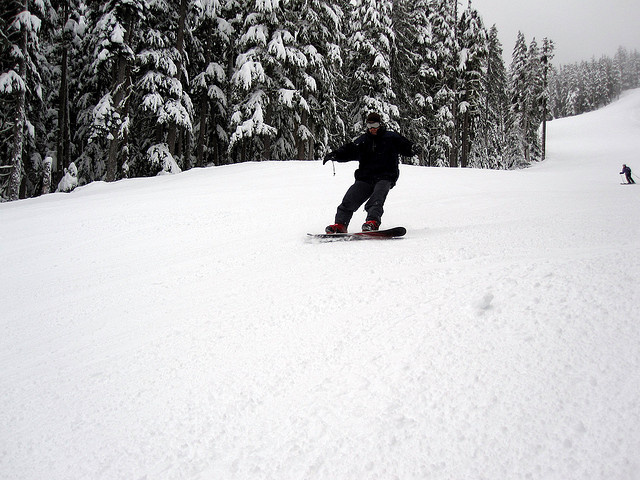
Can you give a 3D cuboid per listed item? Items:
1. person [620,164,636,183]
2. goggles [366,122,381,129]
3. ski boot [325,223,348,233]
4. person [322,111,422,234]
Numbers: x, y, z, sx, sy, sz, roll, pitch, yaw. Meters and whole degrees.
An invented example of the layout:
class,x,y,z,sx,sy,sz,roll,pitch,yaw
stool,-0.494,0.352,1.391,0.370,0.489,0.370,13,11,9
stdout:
class,x,y,z,sx,sy,sz,roll,pitch,yaw
person,8.830,-1.877,13.078,0.197,0.519,1.340,4,17,31
goggles,0.720,-1.560,6.155,0.178,0.086,0.168,-2,15,10
ski boot,0.191,-0.142,5.694,0.278,0.149,0.105,4,-18,-27
person,0.628,-0.969,6.087,1.021,1.413,1.104,-12,15,-31
